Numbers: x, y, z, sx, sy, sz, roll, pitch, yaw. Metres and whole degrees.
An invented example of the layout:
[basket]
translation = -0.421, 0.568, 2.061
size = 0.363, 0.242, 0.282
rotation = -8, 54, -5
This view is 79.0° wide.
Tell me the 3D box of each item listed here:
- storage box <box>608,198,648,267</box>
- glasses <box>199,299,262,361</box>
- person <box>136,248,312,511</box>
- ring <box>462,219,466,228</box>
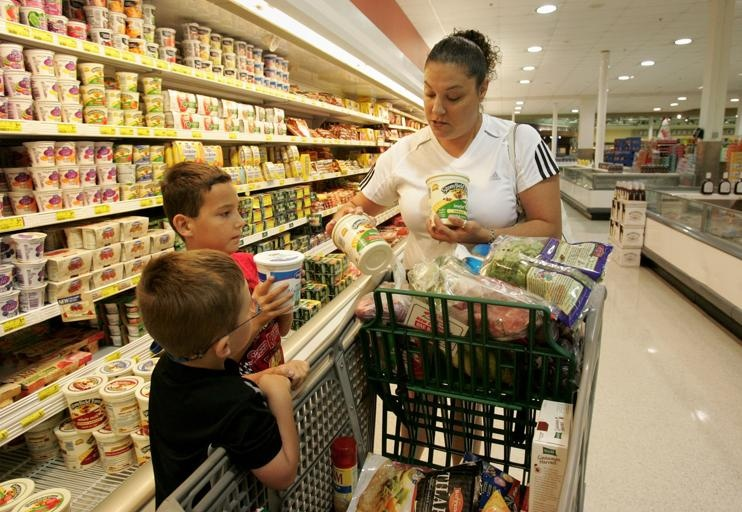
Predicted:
[storage box]
translation = 3.742, -0.351, 6.555
size = 0.310, 0.952, 0.546
rotation = -2, 17, -6
[glasses]
translation = -0.432, 0.214, 1.359
size = 0.211, 0.065, 0.201
rotation = -42, 22, 2
[person]
translation = -0.425, 0.382, 1.310
size = 0.470, 0.729, 0.462
rotation = -7, 19, -22
[ring]
translation = 0.362, -0.122, 1.729
size = 0.019, 0.029, 0.024
rotation = 5, 18, 15
